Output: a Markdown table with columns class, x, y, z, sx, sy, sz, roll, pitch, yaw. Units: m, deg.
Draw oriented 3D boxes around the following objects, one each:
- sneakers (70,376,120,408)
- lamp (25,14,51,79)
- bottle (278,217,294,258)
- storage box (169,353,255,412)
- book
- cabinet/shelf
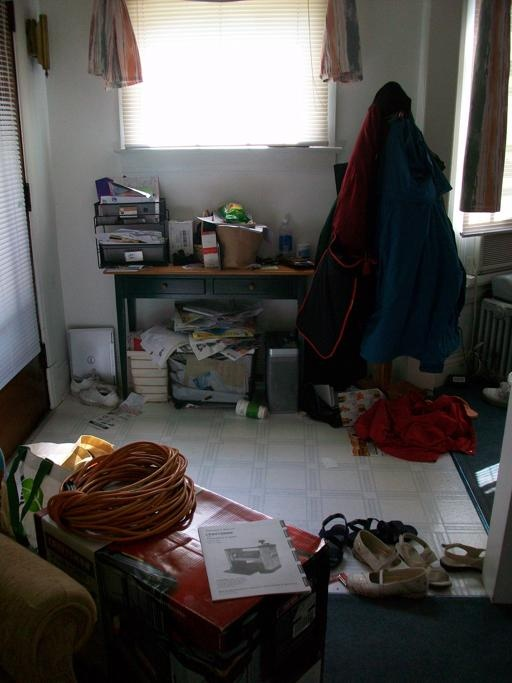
| class | x | y | z | sx | sy | sz | roll | pitch | yaw |
| --- | --- | --- | --- | --- | --- | --- | --- | --- | --- |
| sneakers | -0.982 | 0.308 | 3.082 | 0.221 | 0.078 | 0.189 | 9 | 23 | -6 |
| lamp | -1.158 | -1.603 | 2.687 | 0.102 | 0.284 | 0.207 | -4 | 14 | -17 |
| bottle | 0.179 | -0.642 | 3.037 | 0.094 | 0.240 | 0.142 | 1 | 13 | 3 |
| storage box | -0.273 | 0.219 | 2.929 | 0.503 | 0.362 | 0.306 | 4 | 16 | 10 |
| book | -0.712 | -0.683 | 2.841 | 0.393 | 0.544 | 0.314 | -1 | 22 | -3 |
| cabinet/shelf | -0.722 | -0.694 | 2.937 | 0.375 | 0.381 | 0.300 | -3 | 39 | -8 |
